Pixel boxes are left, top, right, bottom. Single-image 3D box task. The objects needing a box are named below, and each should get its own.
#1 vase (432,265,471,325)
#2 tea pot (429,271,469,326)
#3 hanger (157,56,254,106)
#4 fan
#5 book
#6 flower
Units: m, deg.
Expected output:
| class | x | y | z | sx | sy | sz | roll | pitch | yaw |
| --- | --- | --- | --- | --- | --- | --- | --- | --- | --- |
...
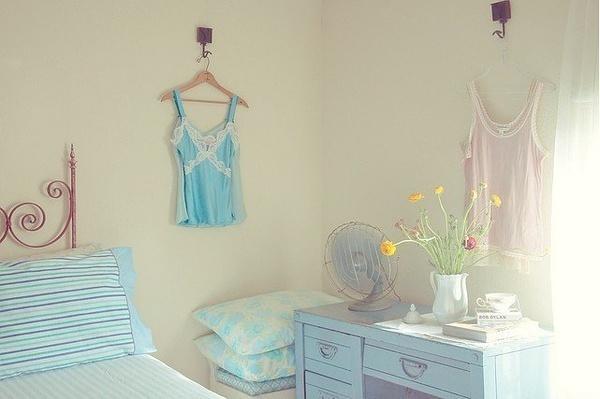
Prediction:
| class | x | y | z | sx | sy | sz | roll | pitch | yaw |
| --- | --- | --- | --- | --- | --- | --- | --- | --- | --- |
| vase | 0.790 | 0.511 | 2.567 | 0.178 | 0.251 | 0.241 | -4 | 1 | -41 |
| tea pot | 0.770 | 0.510 | 2.505 | 0.265 | 0.268 | 0.185 | -3 | -4 | 36 |
| hanger | -0.666 | -0.804 | 3.297 | 0.414 | 0.213 | 0.019 | 1 | 3 | -32 |
| fan | 0.419 | 0.424 | 3.020 | 0.439 | 0.477 | 0.312 | -16 | -17 | 33 |
| book | 0.956 | 0.636 | 2.383 | 0.483 | 0.062 | 0.160 | -5 | 1 | -7 |
| flower | 0.790 | 0.196 | 2.719 | 0.573 | 0.398 | 0.562 | -3 | -2 | -37 |
